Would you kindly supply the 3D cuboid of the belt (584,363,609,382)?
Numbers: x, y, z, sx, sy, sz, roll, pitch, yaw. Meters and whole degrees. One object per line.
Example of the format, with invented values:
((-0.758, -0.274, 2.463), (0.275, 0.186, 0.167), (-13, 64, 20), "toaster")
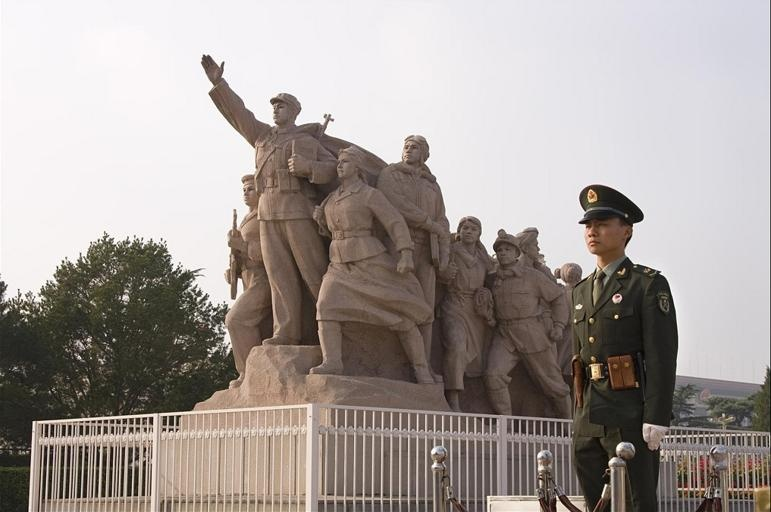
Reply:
((3.222, 1.737, 23.728), (0.274, 0.255, 0.109), (-5, -7, 29), "belt")

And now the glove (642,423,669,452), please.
((4.066, 2.716, 23.665), (0.347, 0.386, 0.424), (2, -1, 31), "glove")
